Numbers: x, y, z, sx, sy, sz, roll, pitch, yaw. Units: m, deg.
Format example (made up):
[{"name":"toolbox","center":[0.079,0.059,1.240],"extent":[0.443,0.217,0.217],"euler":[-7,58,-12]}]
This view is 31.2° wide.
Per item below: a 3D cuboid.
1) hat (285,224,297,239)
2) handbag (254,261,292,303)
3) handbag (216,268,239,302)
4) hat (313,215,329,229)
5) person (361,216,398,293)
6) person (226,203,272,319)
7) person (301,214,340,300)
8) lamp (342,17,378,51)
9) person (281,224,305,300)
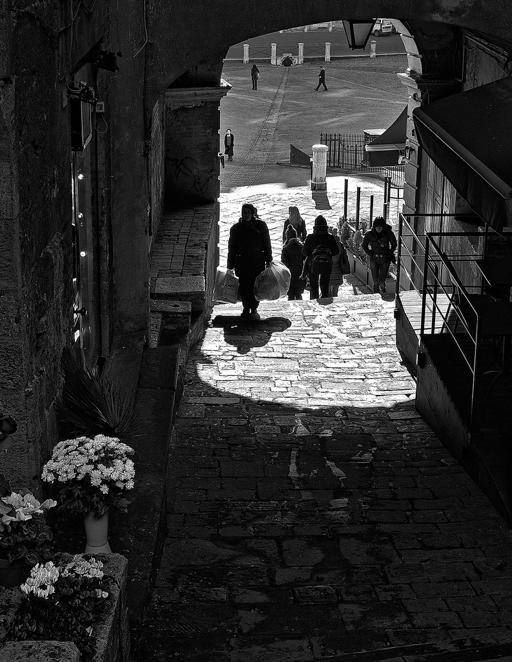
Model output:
[{"name":"hat","center":[0.525,-1.490,13.620],"extent":[0.177,0.222,0.193],"euler":[-3,3,-10]},{"name":"handbag","center":[0.187,-0.635,11.479],"extent":[0.233,0.361,0.449],"euler":[27,-15,20]},{"name":"handbag","center":[-0.355,-0.589,11.492],"extent":[0.239,0.450,0.223],"euler":[19,30,35]},{"name":"hat","center":[0.874,-1.530,12.625],"extent":[0.163,0.195,0.237],"euler":[2,-28,1]},{"name":"person","center":[1.823,-1.145,13.738],"extent":[0.510,1.196,0.826],"euler":[2,10,7]},{"name":"person","center":[-0.128,-0.873,11.200],"extent":[0.551,1.392,0.572],"euler":[2,9,12]},{"name":"person","center":[0.894,-0.973,12.885],"extent":[0.419,1.235,0.363],"euler":[-5,21,-8]},{"name":"lamp","center":[0.971,-2.784,8.620],"extent":[0.297,0.333,0.315],"euler":[-6,30,-11]},{"name":"person","center":[0.548,-1.029,13.588],"extent":[0.334,1.227,0.358],"euler":[-6,28,-7]}]
